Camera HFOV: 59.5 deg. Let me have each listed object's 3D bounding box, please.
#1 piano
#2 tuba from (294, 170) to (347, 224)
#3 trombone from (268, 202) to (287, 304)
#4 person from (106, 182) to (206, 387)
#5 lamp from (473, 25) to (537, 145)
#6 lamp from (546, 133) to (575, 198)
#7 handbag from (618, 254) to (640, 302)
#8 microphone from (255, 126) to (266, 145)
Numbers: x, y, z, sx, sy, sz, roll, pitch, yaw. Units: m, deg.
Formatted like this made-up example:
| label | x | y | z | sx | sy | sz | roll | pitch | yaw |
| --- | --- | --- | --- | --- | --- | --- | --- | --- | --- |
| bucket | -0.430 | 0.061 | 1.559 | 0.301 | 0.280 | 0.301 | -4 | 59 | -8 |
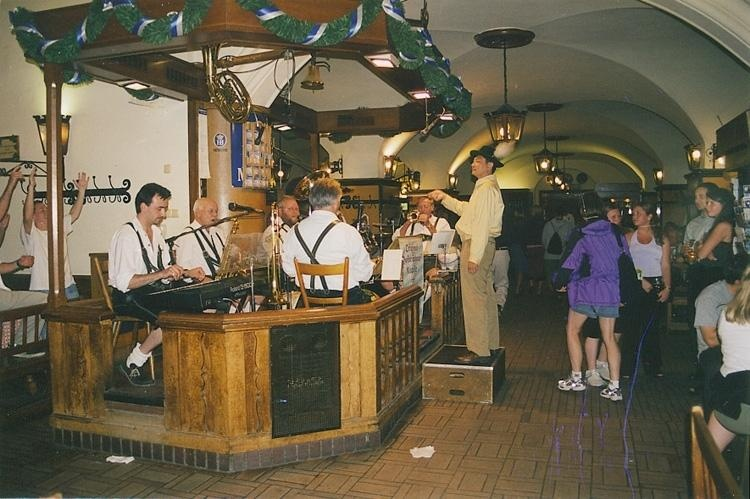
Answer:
| label | x | y | z | sx | sy | sz | roll | pitch | yaw |
| --- | --- | --- | --- | --- | --- | --- | --- | --- | --- |
| piano | -1.970 | 0.522 | 7.693 | 1.212 | 0.443 | 1.031 | 0 | 1 | -21 |
| tuba | -1.016 | -0.875 | 9.086 | 0.753 | 1.095 | 1.190 | 3 | 6 | -3 |
| trombone | -1.116 | 0.066 | 7.759 | 0.196 | 1.092 | 0.195 | 0 | 14 | -3 |
| person | -2.736 | 0.452 | 8.093 | 1.025 | 2.519 | 0.861 | 0 | 1 | -2 |
| lamp | 2.373 | -2.924 | 11.987 | 1.145 | 1.892 | 1.142 | -2 | 3 | 3 |
| lamp | 6.974 | -3.148 | 24.794 | 0.591 | 2.004 | 0.586 | 0 | 7 | 18 |
| handbag | 3.397 | 0.384 | 8.833 | 0.265 | 0.574 | 0.431 | -7 | 21 | 22 |
| microphone | -1.823 | -1.859 | 10.653 | 0.065 | 0.262 | 0.191 | 7 | 1 | -17 |
